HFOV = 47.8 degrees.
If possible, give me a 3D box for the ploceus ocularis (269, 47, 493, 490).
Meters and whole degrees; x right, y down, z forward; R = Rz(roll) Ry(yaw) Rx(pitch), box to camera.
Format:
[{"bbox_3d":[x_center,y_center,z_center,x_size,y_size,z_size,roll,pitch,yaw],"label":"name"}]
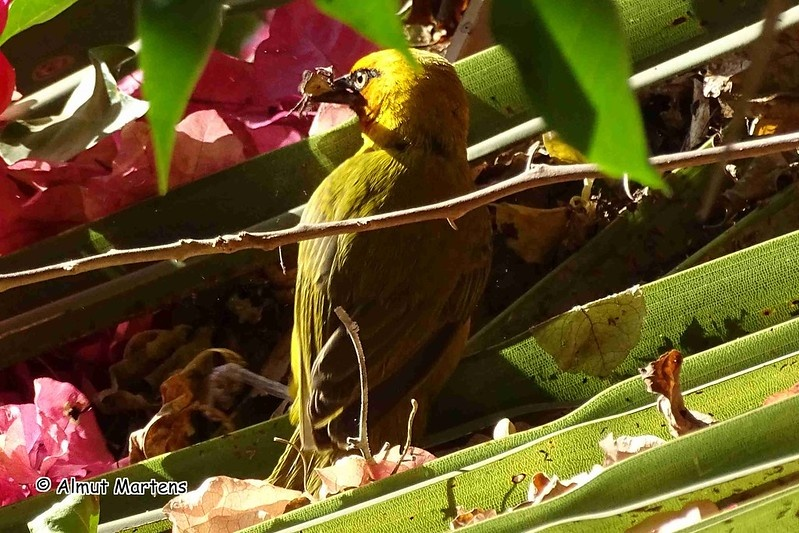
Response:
[{"bbox_3d":[-0.032,0.017,0.961,0.194,0.445,0.322,9,28,32],"label":"ploceus ocularis"}]
